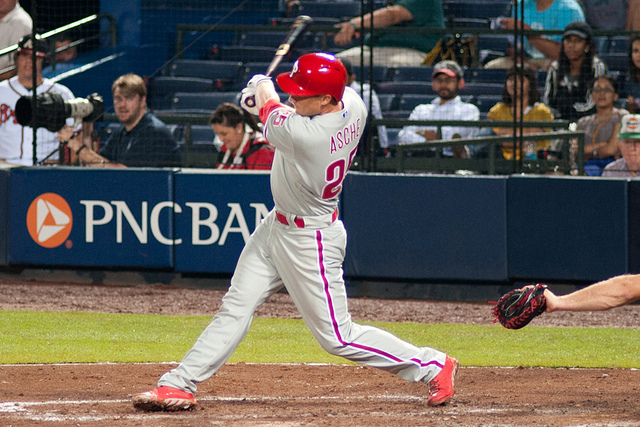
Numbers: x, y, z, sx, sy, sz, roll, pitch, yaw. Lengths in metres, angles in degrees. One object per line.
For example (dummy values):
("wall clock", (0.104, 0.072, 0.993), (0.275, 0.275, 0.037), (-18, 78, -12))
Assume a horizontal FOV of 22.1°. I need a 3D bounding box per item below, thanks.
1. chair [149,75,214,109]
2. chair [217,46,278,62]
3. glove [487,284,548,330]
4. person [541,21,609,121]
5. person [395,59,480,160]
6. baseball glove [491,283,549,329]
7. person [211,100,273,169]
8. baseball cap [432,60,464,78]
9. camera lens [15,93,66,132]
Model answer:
("chair", (-1.878, -1.635, 21.959), (0.325, 0.292, 0.610), (-28, 50, -25))
("chair", (-0.973, -2.240, 22.637), (0.620, 0.195, 0.189), (6, 16, 12))
("glove", (1.992, 0.912, 16.063), (0.376, 0.484, 0.193), (40, 3, 22))
("person", (3.101, -1.682, 19.924), (0.648, 1.375, 0.677), (1, -1, -2))
("person", (1.529, -1.134, 20.233), (0.625, 1.486, 0.500), (6, 17, -8))
("baseball glove", (1.971, 0.902, 15.996), (0.479, 0.373, 0.191), (-36, -34, 18))
("person", (-0.843, -0.889, 18.381), (0.478, 0.749, 1.256), (1, -32, 3))
("baseball cap", (1.595, -1.822, 20.400), (0.356, 0.240, 0.592), (3, 3, 3))
("camera lens", (-3.259, -1.206, 19.262), (0.360, 0.336, 0.618), (33, 20, 29))
